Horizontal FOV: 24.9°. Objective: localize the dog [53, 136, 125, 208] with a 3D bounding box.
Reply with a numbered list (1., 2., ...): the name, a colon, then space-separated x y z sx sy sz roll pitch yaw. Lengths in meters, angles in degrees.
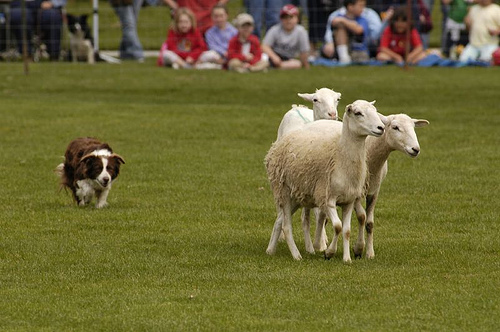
1. dog: -2.837 0.109 20.111 1.170 1.142 0.648 9 13 38
